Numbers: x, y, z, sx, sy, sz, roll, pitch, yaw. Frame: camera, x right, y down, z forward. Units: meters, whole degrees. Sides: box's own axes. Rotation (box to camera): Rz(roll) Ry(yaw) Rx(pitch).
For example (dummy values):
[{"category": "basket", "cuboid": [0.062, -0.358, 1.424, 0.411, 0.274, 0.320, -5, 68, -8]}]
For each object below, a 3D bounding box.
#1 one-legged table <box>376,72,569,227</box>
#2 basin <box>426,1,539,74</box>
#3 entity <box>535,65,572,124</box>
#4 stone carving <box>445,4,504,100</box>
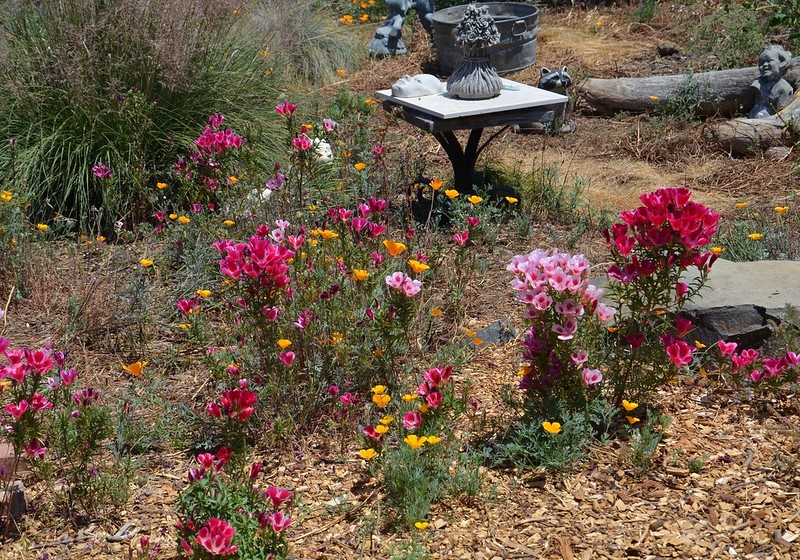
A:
[{"category": "one-legged table", "cuboid": [0.543, -1.451, 7.953, 1.290, 1.346, 1.403, -7, 24, -21]}, {"category": "basin", "cuboid": [0.989, -2.767, 10.264, 1.041, 0.635, 1.344, 2, 24, 15]}, {"category": "entity", "cuboid": [1.727, -2.040, 10.068, 0.312, 0.705, 0.335, 6, 12, 37]}, {"category": "stone carving", "cuboid": [0.638, -1.937, 7.777, 0.588, 1.056, 0.653, 0, 21, 4]}]
